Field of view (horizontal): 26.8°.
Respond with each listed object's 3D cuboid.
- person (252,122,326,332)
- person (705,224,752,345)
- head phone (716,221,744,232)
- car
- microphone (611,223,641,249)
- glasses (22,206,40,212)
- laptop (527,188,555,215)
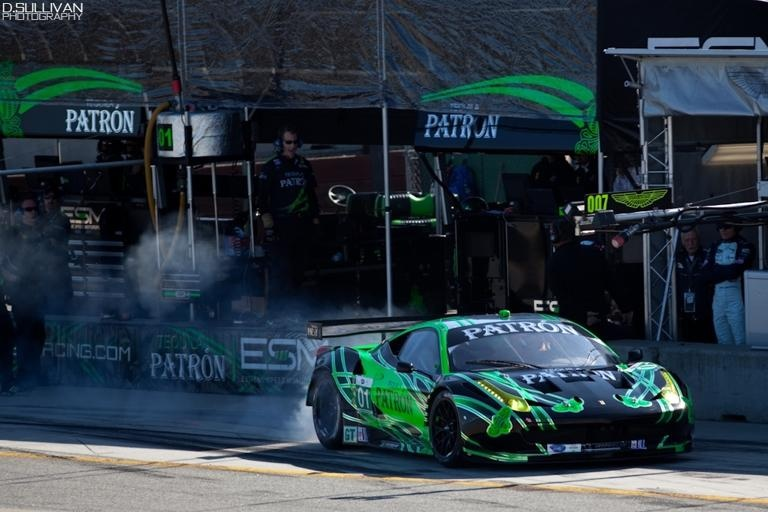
[{"bbox_3d":[-1.707,-0.612,28.419,1.037,3.280,0.331,0,-4,-34],"label":"person"},{"bbox_3d":[5.354,0.456,25.405,0.782,1.866,0.518,-4,-4,33],"label":"person"},{"bbox_3d":[5.276,-0.487,25.119,0.302,0.154,0.220,-12,5,-37],"label":"head phone"},{"bbox_3d":[1.476,1.787,22.452,4.994,2.077,2.145,-4,-4,34],"label":"car"},{"bbox_3d":[3.510,-0.303,23.935,0.725,0.168,0.201,-17,-29,-52],"label":"microphone"},{"bbox_3d":[-6.025,-0.802,27.643,0.146,0.102,0.108,-10,3,16],"label":"glasses"},{"bbox_3d":[2.640,-0.932,27.497,0.485,0.413,0.469,-2,2,-6],"label":"laptop"}]
